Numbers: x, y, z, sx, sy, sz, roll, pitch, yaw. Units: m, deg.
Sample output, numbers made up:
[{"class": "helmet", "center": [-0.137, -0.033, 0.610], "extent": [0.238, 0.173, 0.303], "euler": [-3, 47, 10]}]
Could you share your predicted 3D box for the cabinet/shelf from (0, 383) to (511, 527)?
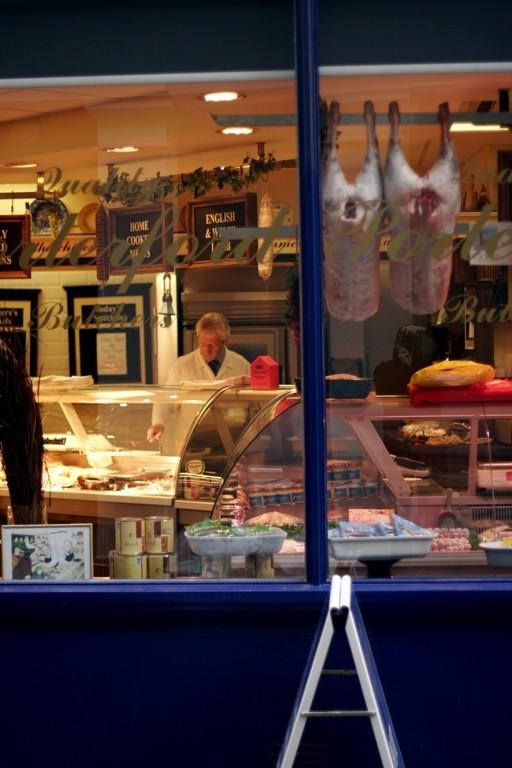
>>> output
[{"class": "cabinet/shelf", "center": [-0.001, 0.282, 3.683], "extent": [1.919, 0.532, 0.360], "euler": [0, 11, 16]}]

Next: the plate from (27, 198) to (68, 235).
[{"class": "plate", "center": [-0.843, -0.663, 3.783], "extent": [0.173, 0.147, 0.040], "euler": [10, 13, 20]}]

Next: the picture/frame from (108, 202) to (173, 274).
[{"class": "picture/frame", "center": [-0.448, -0.580, 3.703], "extent": [0.344, 0.278, 0.056], "euler": [0, -2, 24]}]

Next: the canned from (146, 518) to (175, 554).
[{"class": "canned", "center": [-0.369, 0.583, 3.595], "extent": [0.136, 0.128, 0.128], "euler": [-3, -7, 20]}]

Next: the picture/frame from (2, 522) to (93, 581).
[{"class": "picture/frame", "center": [-0.781, 0.640, 3.522], "extent": [0.241, 0.148, 0.016], "euler": [-1, -19, 0]}]

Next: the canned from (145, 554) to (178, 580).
[{"class": "canned", "center": [-0.361, 0.702, 3.593], "extent": [0.102, 0.096, 0.104], "euler": [-11, -13, 43]}]

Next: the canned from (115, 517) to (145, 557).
[{"class": "canned", "center": [-0.487, 0.589, 3.596], "extent": [0.135, 0.122, 0.123], "euler": [-1, -2, 20]}]

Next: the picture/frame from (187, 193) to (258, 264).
[{"class": "picture/frame", "center": [-0.121, -0.607, 3.635], "extent": [0.336, 0.242, 0.052], "euler": [0, 6, 13]}]

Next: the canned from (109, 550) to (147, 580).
[{"class": "canned", "center": [-0.488, 0.696, 3.609], "extent": [0.121, 0.098, 0.105], "euler": [0, -5, -5]}]

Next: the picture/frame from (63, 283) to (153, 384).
[{"class": "picture/frame", "center": [-0.598, -0.221, 3.811], "extent": [0.489, 0.494, 0.025], "euler": [1, 19, 7]}]
